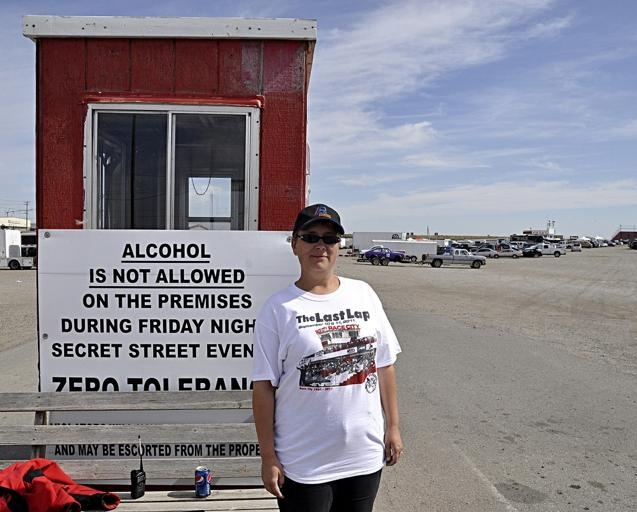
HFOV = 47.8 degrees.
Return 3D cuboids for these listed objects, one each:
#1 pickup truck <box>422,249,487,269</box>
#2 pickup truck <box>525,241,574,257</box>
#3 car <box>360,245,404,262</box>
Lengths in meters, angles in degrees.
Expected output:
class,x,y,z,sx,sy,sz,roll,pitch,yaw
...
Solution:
class,x,y,z,sx,sy,sz,roll,pitch,yaw
pickup truck,7.890,0.182,41.231,2.624,0.963,1.480,0,4,6
pickup truck,19.057,-0.914,60.493,3.748,1.445,1.868,2,-1,-10
car,3.850,-0.103,42.714,2.064,0.817,1.124,-3,7,-14
